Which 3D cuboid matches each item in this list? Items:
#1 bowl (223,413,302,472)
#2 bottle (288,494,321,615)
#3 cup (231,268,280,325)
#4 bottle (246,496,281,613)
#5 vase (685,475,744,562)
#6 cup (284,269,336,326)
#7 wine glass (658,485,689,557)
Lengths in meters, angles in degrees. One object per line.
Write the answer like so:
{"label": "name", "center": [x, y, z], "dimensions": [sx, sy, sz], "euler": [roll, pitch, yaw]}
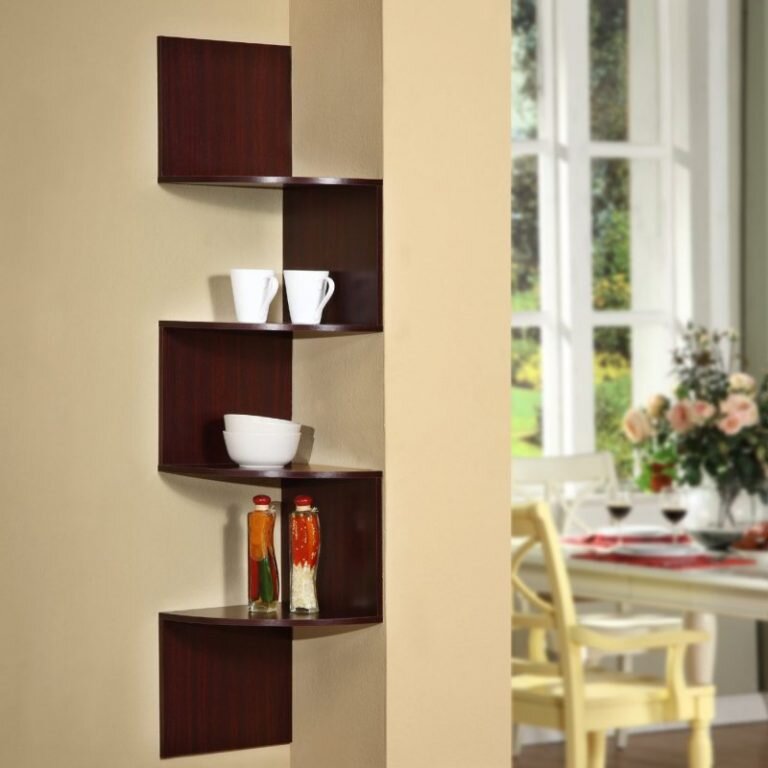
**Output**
{"label": "bowl", "center": [-0.240, 0.114, 2.075], "dimensions": [0.098, 0.086, 0.115], "euler": [3, -14, -8]}
{"label": "bottle", "center": [-0.158, 0.332, 2.078], "dimensions": [0.059, 0.217, 0.064], "euler": [-3, 3, 0]}
{"label": "cup", "center": [-0.251, -0.169, 2.123], "dimensions": [0.100, 0.114, 0.088], "euler": [-1, -7, 26]}
{"label": "bottle", "center": [-0.247, 0.342, 2.164], "dimensions": [0.062, 0.231, 0.106], "euler": [-4, 3, -8]}
{"label": "vase", "center": [0.922, 0.378, 2.953], "dimensions": [0.149, 0.223, 0.156], "euler": [1, 0, -34]}
{"label": "cup", "center": [-0.144, -0.164, 2.088], "dimensions": [0.099, 0.116, 0.094], "euler": [1, -4, 0]}
{"label": "wine glass", "center": [0.806, 0.381, 2.989], "dimensions": [0.063, 0.199, 0.068], "euler": [-2, 7, -11]}
